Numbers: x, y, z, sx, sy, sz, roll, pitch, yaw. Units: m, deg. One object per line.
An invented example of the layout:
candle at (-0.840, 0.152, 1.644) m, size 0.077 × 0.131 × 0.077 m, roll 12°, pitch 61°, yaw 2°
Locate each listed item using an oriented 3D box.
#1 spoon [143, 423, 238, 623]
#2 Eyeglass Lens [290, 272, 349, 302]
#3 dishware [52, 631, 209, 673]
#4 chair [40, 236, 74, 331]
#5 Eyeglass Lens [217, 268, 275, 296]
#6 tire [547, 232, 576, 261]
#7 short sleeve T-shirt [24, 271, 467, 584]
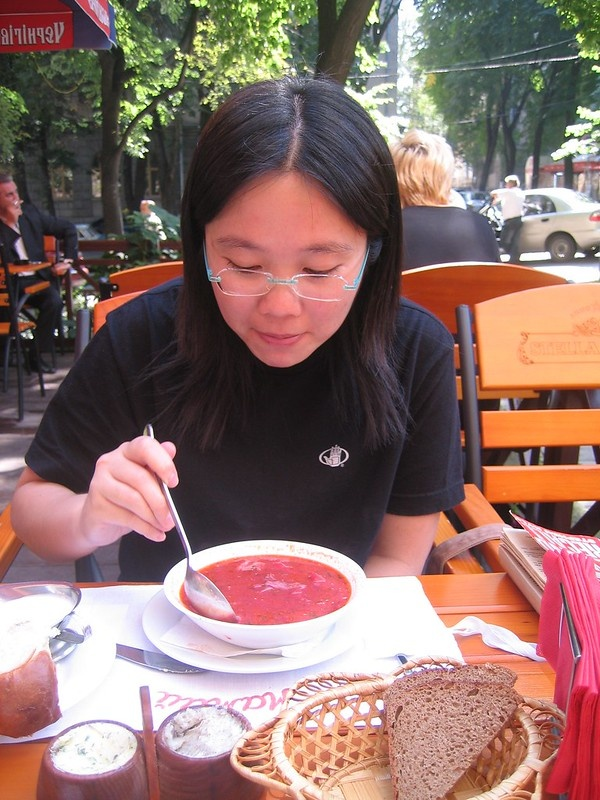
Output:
spoon at (-0.203, 0.218, 1.246) m, size 0.078 × 0.354 × 0.163 m, roll -23°, pitch -4°, yaw -15°
Eyeglass Lens at (0.035, -0.196, 1.128) m, size 0.030 × 0.049 × 0.144 m, roll 8°, pitch 9°, yaw 40°
dishware at (-0.238, 0.343, 0.899) m, size 0.209 × 0.045 × 0.067 m, roll 2°, pitch 7°, yaw 0°
chair at (-3.604, -1.770, 9.617) m, size 0.405 × 1.350 × 0.445 m, roll -14°, pitch 6°, yaw -1°
Eyeglass Lens at (-0.112, -0.205, 1.138) m, size 0.042 × 0.049 × 0.175 m, roll -4°, pitch 9°, yaw -37°
tire at (6.133, -3.646, 15.215) m, size 0.503 × 0.501 × 0.176 m, roll -41°, pitch 11°, yaw 20°
short sleeve T-shirt at (-0.073, 0.064, 1.838) m, size 0.848 × 1.034 × 0.766 m, roll 3°, pitch 12°, yaw -2°
